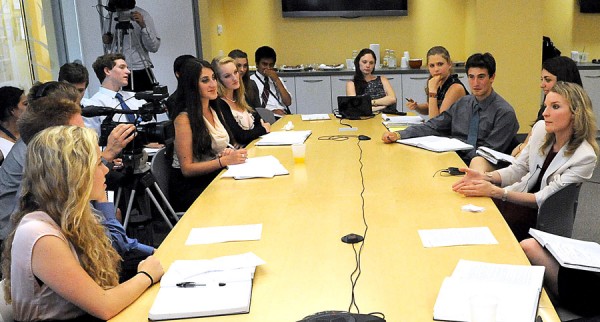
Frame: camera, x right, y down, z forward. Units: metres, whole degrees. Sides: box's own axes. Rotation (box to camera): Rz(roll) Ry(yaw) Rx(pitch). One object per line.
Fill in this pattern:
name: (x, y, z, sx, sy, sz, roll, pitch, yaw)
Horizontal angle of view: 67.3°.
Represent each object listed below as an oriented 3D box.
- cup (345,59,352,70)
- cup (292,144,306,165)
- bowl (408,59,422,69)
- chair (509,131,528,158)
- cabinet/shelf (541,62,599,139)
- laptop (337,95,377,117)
cup: (0.875, -1.754, 8.117, 0.185, 0.187, 0.174, 0, 21, 0)
cup: (-0.011, -0.070, 4.064, 0.169, 0.170, 0.164, -4, 6, 0)
bowl: (1.989, -1.687, 7.846, 0.219, 0.120, 0.200, -3, 7, 0)
chair: (2.168, -0.161, 4.487, 0.128, 0.190, 0.339, 17, -17, 13)
cabinet/shelf: (2.559, -0.684, 4.472, 0.671, 0.783, 0.695, 2, 14, 23)
laptop: (0.677, -0.665, 5.547, 0.408, 0.262, 0.277, 1, 17, 6)
